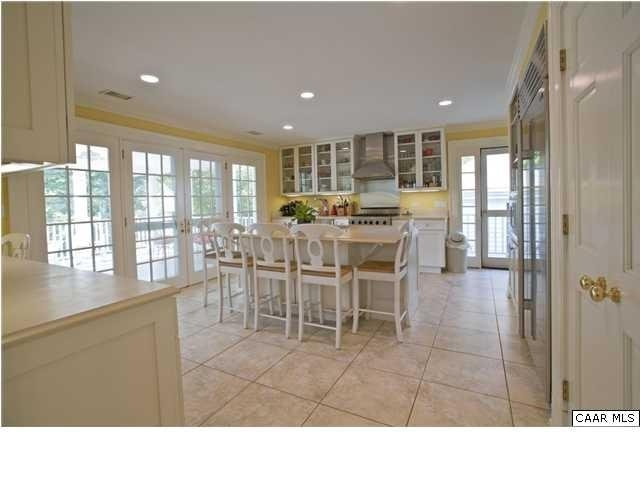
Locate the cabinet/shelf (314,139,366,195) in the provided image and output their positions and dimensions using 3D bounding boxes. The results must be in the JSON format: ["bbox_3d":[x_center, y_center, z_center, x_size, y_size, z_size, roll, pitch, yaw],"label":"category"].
[{"bbox_3d":[0.353,-1.202,6.483,0.852,1.044,0.335,0,2,25],"label":"cabinet/shelf"}]

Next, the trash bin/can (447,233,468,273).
[{"bbox_3d":[1.935,0.194,5.657,0.304,0.520,0.292,-3,14,4],"label":"trash bin/can"}]

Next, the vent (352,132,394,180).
[{"bbox_3d":[0.834,-1.284,6.235,0.698,0.673,0.501,-2,4,12],"label":"vent"}]

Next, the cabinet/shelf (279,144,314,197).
[{"bbox_3d":[-0.378,-1.215,6.854,0.800,1.065,0.344,0,2,24],"label":"cabinet/shelf"}]

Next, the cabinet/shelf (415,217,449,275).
[{"bbox_3d":[1.551,0.075,5.686,0.431,0.770,0.150,7,15,35],"label":"cabinet/shelf"}]

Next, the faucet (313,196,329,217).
[{"bbox_3d":[0.045,-0.586,7.008,0.392,0.410,0.228,0,5,17],"label":"faucet"}]

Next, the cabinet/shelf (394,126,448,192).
[{"bbox_3d":[1.427,-1.131,5.906,0.746,0.889,0.257,-4,10,-1],"label":"cabinet/shelf"}]

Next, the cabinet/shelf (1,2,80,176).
[{"bbox_3d":[-1.047,-0.588,1.502,0.280,0.602,0.111,-8,14,-27],"label":"cabinet/shelf"}]

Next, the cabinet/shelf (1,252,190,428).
[{"bbox_3d":[-0.968,0.479,1.690,0.605,0.598,0.657,-12,15,-39],"label":"cabinet/shelf"}]
